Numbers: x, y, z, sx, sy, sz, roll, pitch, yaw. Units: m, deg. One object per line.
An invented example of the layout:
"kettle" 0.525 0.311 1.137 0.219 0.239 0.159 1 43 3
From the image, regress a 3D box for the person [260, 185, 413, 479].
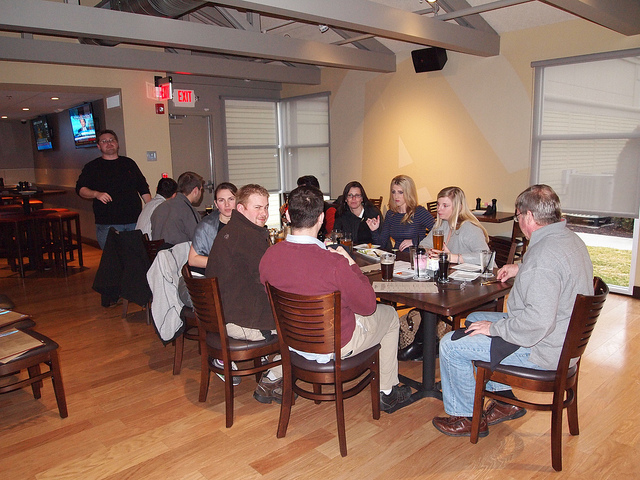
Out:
"person" 0.148 0.522 2.957 1.020 1.746 0.583 -5 13 -9

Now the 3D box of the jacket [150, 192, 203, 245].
"jacket" -1.492 -0.217 4.559 0.560 0.479 0.290 -3 11 -12

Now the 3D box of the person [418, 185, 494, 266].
"person" 1.171 -0.103 4.142 0.663 0.904 0.759 -1 5 -11

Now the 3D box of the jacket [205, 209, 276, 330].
"jacket" -0.552 0.234 3.125 0.424 0.724 0.756 -5 12 -26

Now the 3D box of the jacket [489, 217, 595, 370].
"jacket" 1.387 0.333 2.770 0.614 0.887 0.314 -6 13 -14

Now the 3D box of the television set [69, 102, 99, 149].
"television set" -4.355 -2.093 8.363 0.824 0.825 0.087 3 16 35

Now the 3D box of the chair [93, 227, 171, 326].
"chair" -1.902 0.385 4.592 0.822 1.018 0.691 10 10 11

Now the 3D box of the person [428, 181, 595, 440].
"person" 1.250 0.494 2.973 0.918 1.688 0.614 5 15 31

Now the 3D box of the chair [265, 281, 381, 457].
"chair" 0.059 0.782 3.130 0.669 1.094 0.719 1 11 17

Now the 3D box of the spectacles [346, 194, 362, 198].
"spectacles" 0.359 -0.466 4.780 0.152 0.039 0.060 -3 12 -4

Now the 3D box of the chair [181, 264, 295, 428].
"chair" -0.630 0.757 3.432 0.756 1.043 0.610 -4 7 -33

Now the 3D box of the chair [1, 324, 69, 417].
"chair" -2.155 0.980 3.355 0.367 0.661 0.481 -12 15 -36

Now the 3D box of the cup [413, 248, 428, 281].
"cup" 0.762 0.184 3.442 0.156 0.253 0.153 -2 4 0

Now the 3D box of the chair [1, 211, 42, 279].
"chair" -4.538 0.055 6.865 0.406 0.879 1.065 -12 15 -37

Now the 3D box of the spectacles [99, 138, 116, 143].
"spectacles" -2.623 -1.224 5.562 0.150 0.051 0.055 -8 13 -27

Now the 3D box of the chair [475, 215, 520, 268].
"chair" 1.787 -0.002 4.518 0.532 0.517 0.378 5 17 20
